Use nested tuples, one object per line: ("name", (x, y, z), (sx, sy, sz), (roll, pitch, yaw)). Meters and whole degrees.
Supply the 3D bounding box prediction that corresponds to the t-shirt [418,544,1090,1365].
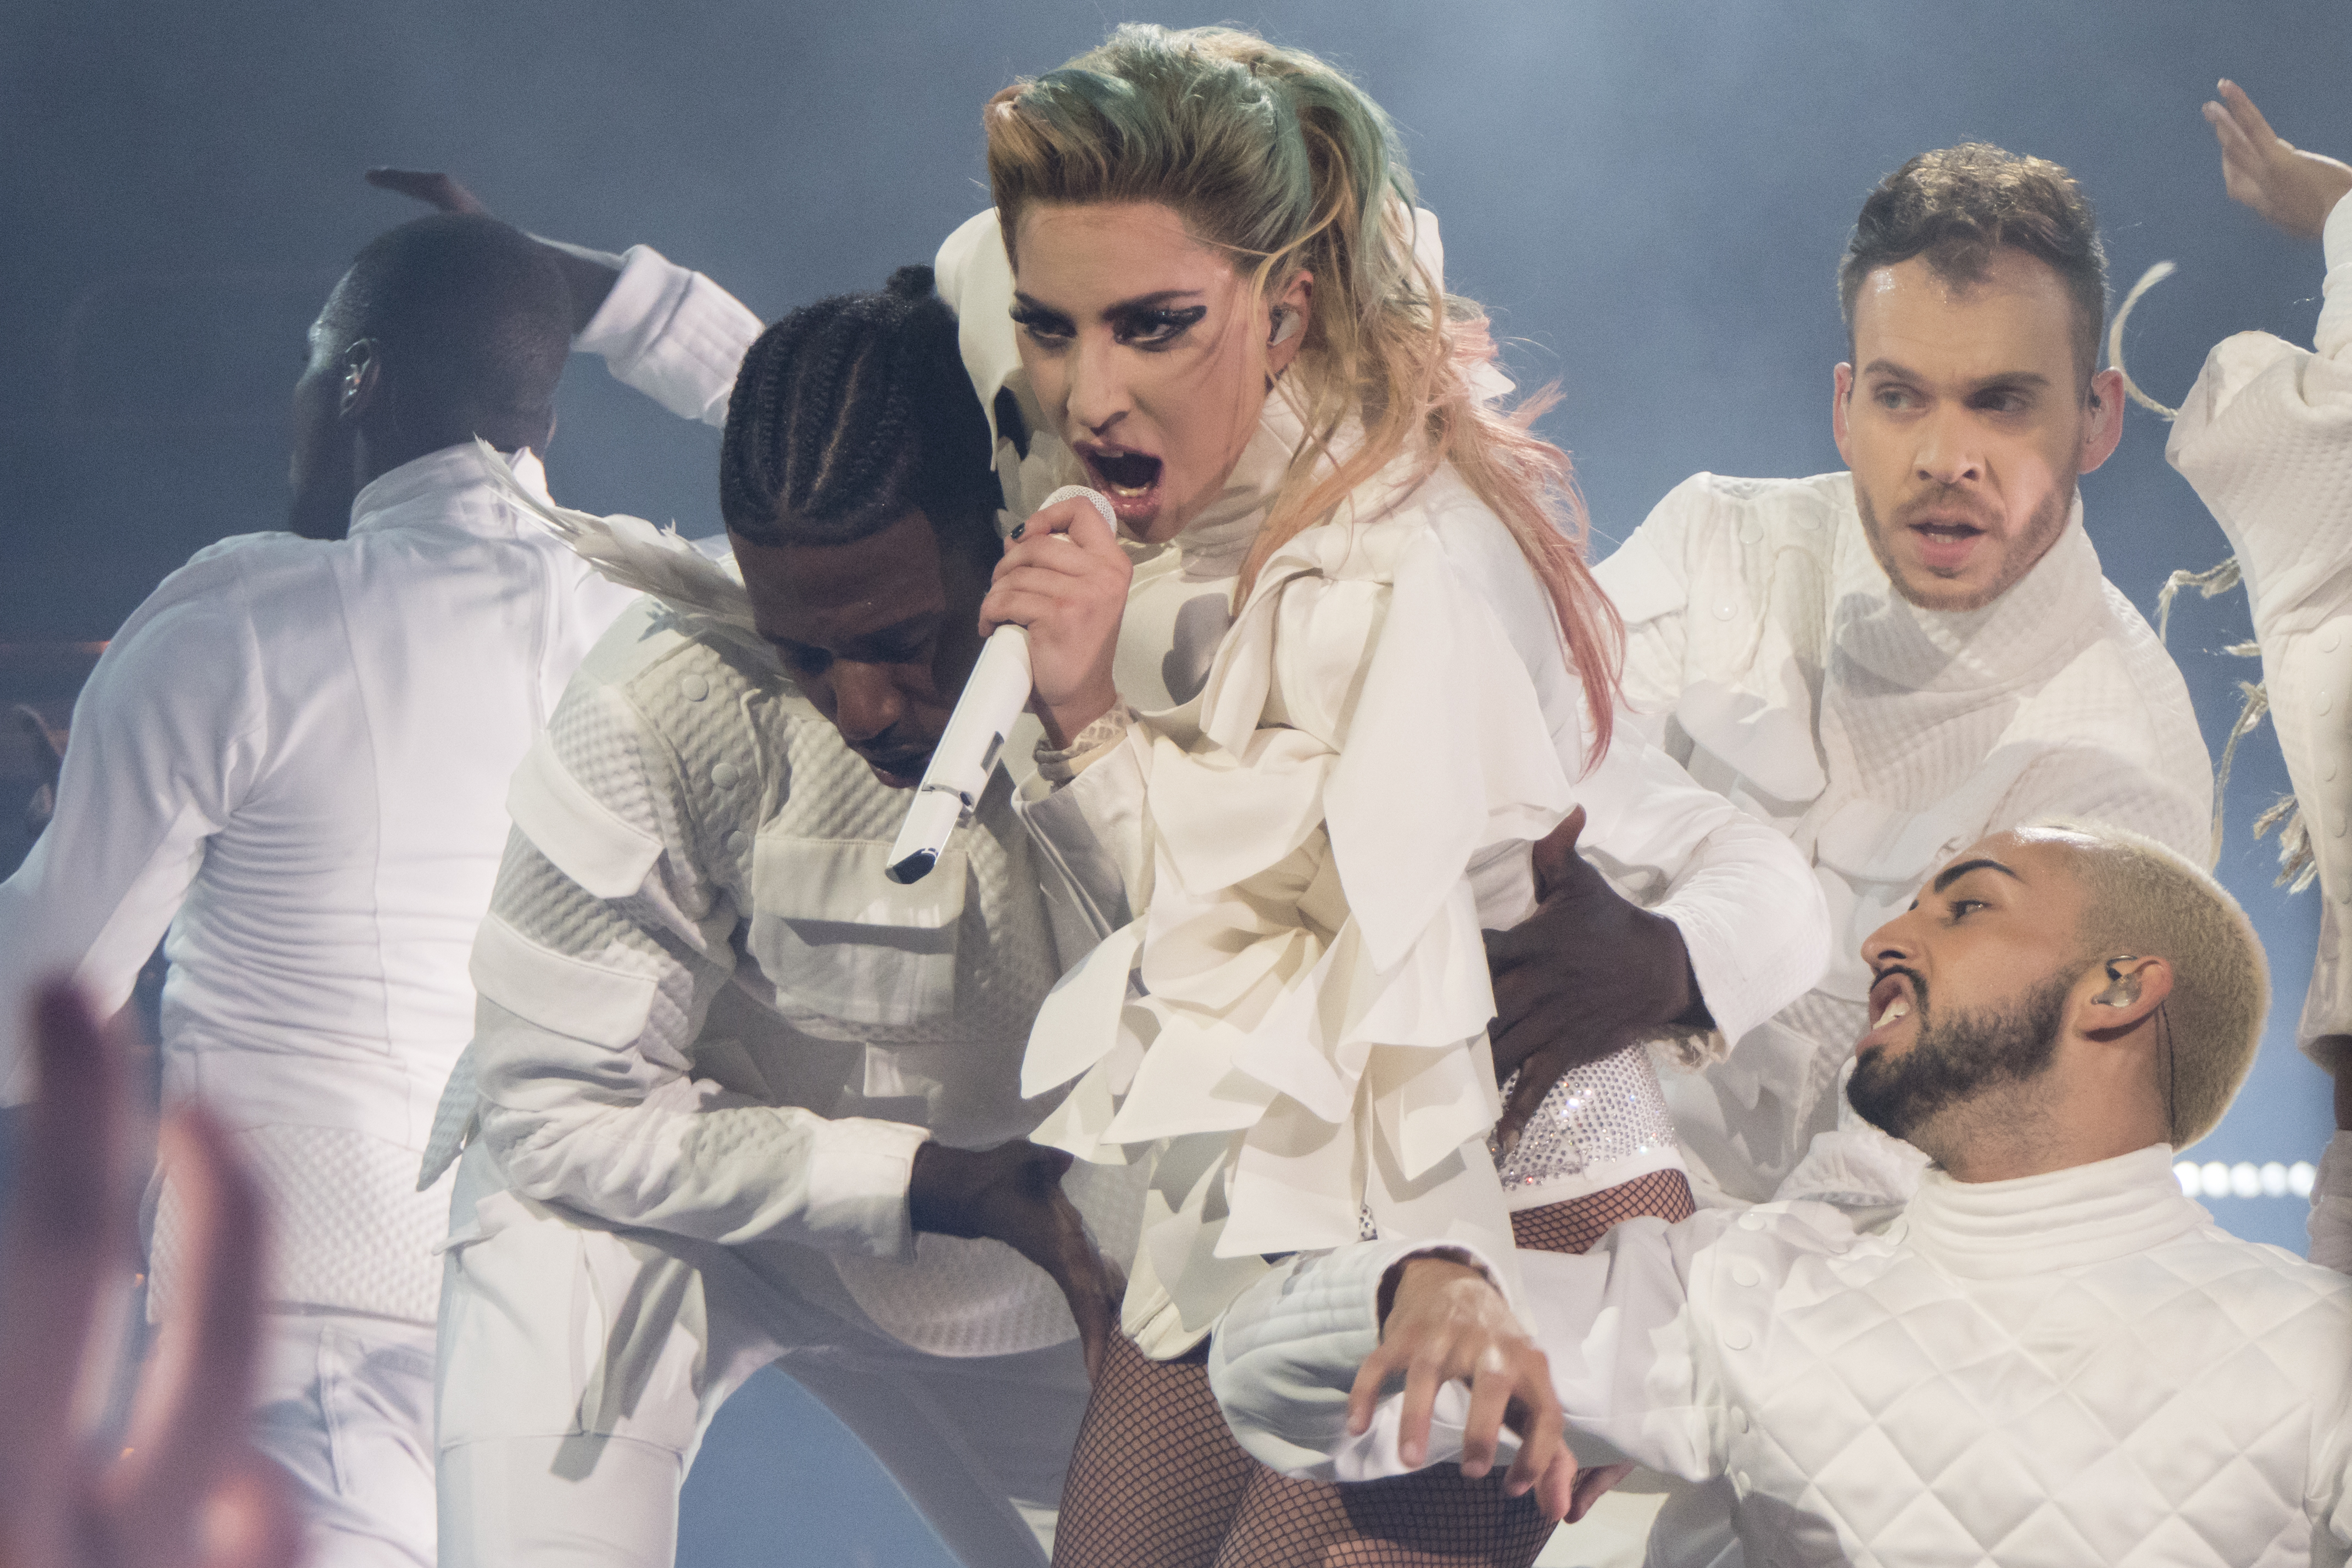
("t-shirt", (-0.544, 0.205, 4.897), (0.882, 0.904, 0.853), (0, 43, -26))
